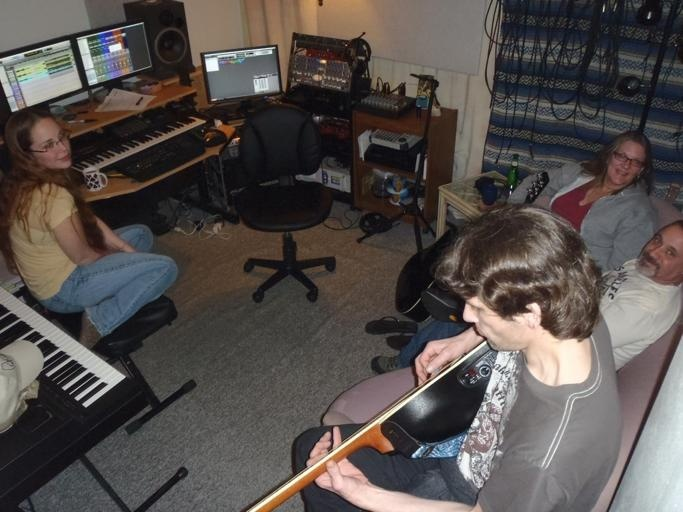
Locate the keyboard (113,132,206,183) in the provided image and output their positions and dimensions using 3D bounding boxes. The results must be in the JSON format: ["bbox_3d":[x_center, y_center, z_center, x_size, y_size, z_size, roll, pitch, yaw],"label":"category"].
[{"bbox_3d":[-1.205,-0.690,3.663,0.292,0.088,0.521,26,47,30],"label":"keyboard"}]

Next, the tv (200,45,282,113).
[{"bbox_3d":[-0.780,-1.384,4.187,0.715,0.528,0.127,-14,37,-11],"label":"tv"}]

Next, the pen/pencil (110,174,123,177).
[{"bbox_3d":[-1.505,-0.541,3.576,0.075,0.008,0.019,4,50,8],"label":"pen/pencil"}]

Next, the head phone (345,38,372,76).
[{"bbox_3d":[0.131,-1.492,4.032,0.181,0.275,0.082,-9,11,-7],"label":"head phone"}]

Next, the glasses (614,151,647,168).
[{"bbox_3d":[1.592,-0.535,2.969,0.162,0.063,0.052,17,37,22],"label":"glasses"}]

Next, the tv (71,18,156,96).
[{"bbox_3d":[-1.606,-1.409,3.796,0.050,0.406,0.649,27,46,31],"label":"tv"}]

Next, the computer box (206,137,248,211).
[{"bbox_3d":[-1.001,-0.662,4.573,0.320,0.486,0.320,-9,13,-26],"label":"computer box"}]

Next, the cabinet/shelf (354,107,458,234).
[{"bbox_3d":[0.526,-0.687,4.183,0.655,0.886,0.454,20,49,20],"label":"cabinet/shelf"}]

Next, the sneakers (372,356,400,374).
[{"bbox_3d":[0.256,0.661,3.259,0.200,0.127,0.072,-1,62,5],"label":"sneakers"}]

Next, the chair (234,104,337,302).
[{"bbox_3d":[-0.374,-0.358,3.650,0.648,1.147,0.690,-3,29,-4],"label":"chair"}]

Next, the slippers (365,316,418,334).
[{"bbox_3d":[0.325,0.457,3.481,0.275,0.075,0.138,7,41,6],"label":"slippers"}]

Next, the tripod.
[{"bbox_3d":[0.456,-0.739,4.172,0.639,1.285,0.597,12,51,8],"label":"tripod"}]

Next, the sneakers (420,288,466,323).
[{"bbox_3d":[0.488,0.227,2.632,0.232,0.136,0.076,19,28,29],"label":"sneakers"}]
